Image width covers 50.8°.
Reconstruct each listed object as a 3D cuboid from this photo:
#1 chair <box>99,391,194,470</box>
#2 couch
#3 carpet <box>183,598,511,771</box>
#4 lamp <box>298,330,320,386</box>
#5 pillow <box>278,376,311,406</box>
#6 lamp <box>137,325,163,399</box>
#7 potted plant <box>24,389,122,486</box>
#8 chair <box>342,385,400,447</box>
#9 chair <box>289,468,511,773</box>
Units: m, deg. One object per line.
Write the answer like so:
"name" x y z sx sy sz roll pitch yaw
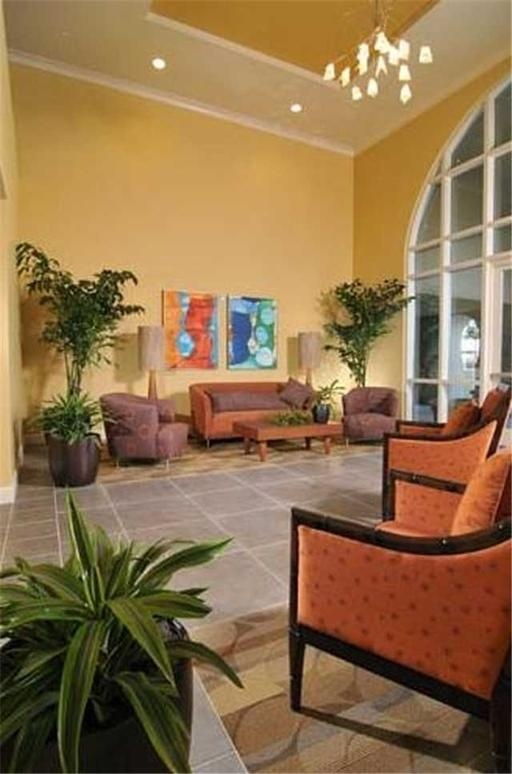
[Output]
"chair" -1.070 0.359 5.216 0.770 0.610 0.788 1 3 -3
"couch" -0.039 0.293 6.702 1.504 0.703 0.563 -2 4 -28
"carpet" 0.245 0.761 1.345 0.449 0.042 0.502 0 1 -23
"lamp" 0.753 -0.302 7.534 0.240 0.249 0.851 0 -41 4
"pillow" 0.499 0.089 6.923 0.369 0.389 0.119 23 -36 12
"lamp" -1.253 -0.316 6.443 0.293 0.874 0.535 -2 5 -12
"potted plant" -1.410 0.420 4.175 0.641 0.628 0.678 -2 6 -19
"chair" 1.377 0.354 6.599 0.725 0.806 0.720 3 -3 -12
"chair" 0.385 0.451 1.432 0.539 0.591 0.657 1 2 -26
